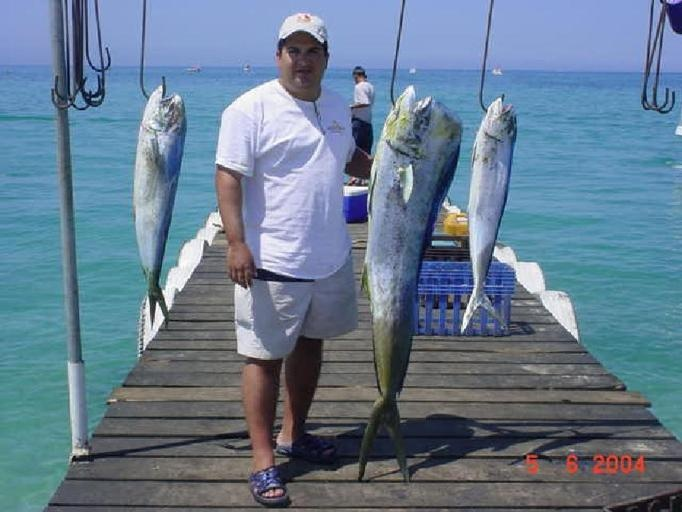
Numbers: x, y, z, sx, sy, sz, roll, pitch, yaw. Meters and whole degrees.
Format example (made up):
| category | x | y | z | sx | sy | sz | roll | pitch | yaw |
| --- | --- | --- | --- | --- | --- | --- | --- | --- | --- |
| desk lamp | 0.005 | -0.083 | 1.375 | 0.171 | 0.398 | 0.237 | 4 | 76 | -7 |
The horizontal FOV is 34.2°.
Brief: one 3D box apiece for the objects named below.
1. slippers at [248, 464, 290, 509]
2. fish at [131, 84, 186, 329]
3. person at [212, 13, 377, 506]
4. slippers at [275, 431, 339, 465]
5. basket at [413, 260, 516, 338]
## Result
| category | x | y | z | sx | sy | sz | roll | pitch | yaw |
| --- | --- | --- | --- | --- | --- | --- | --- | --- | --- |
| slippers | -0.498 | 1.663 | 7.960 | 0.198 | 0.148 | 0.355 | -1 | 5 | -16 |
| fish | -1.312 | -0.324 | 8.130 | 0.361 | 1.866 | 0.552 | 0 | 17 | -9 |
| person | -0.342 | 0.014 | 7.985 | 0.993 | 3.388 | 0.926 | -4 | 18 | -20 |
| slippers | -0.243 | 1.428 | 8.287 | 0.450 | 0.164 | 0.193 | 3 | 16 | 8 |
| basket | 1.095 | 0.332 | 10.280 | 0.856 | 0.475 | 0.795 | -1 | 5 | -1 |
